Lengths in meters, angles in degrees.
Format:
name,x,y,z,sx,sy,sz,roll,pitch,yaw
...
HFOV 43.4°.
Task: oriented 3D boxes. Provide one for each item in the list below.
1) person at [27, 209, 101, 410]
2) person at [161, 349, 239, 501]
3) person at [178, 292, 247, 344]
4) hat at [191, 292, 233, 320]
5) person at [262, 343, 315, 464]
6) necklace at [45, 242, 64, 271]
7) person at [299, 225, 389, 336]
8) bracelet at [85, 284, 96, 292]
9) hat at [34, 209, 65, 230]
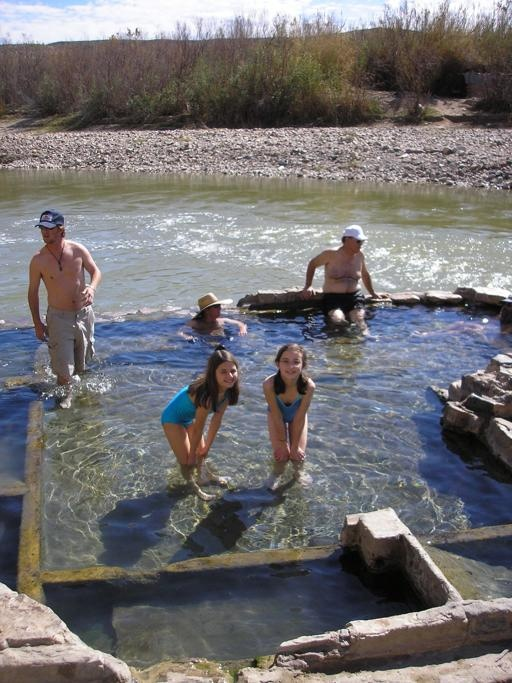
name,x,y,z,sx,sy,sz,roll,pitch,yaw
person,-1.899,-0.348,6.343,0.535,1.839,0.785,3,12,7
person,-0.369,0.551,4.836,0.549,1.015,0.669,-5,13,-26
person,-0.568,-0.290,8.419,0.695,0.941,0.433,-9,-9,-33
hat,-0.546,-0.446,8.108,0.388,0.348,0.394,-5,13,-30
person,0.255,0.477,5.175,0.377,0.918,0.433,-2,12,-16
necklace,-1.916,-0.803,6.132,0.158,0.265,0.086,-2,13,-15
person,1.217,-0.926,8.831,1.056,1.285,1.011,1,12,-1
bracelet,-1.642,-0.528,6.369,0.074,0.018,0.068,17,26,25
hat,-1.920,-1.133,6.044,0.225,0.173,0.337,7,11,22
